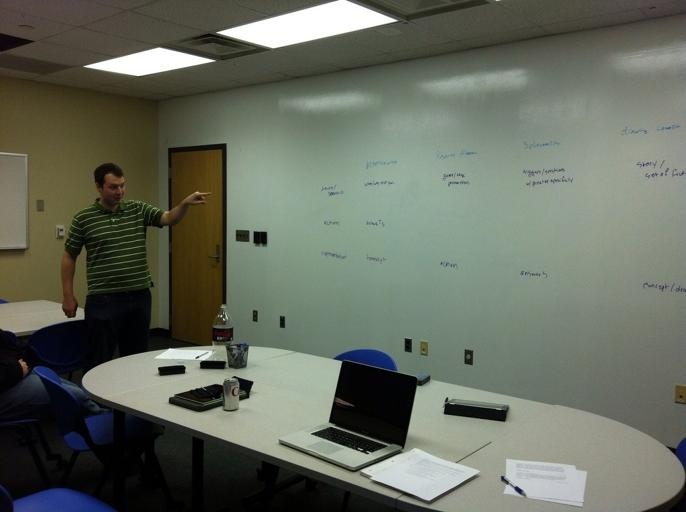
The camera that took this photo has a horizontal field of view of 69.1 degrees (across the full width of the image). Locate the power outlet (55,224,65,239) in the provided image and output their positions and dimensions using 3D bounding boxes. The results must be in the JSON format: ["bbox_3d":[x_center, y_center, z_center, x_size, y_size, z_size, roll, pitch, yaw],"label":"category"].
[{"bbox_3d":[-3.394,-0.305,6.008,0.096,0.202,0.138,10,12,43],"label":"power outlet"}]

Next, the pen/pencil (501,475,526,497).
[{"bbox_3d":[0.674,0.920,1.990,0.026,0.028,0.101,-13,16,-20],"label":"pen/pencil"}]

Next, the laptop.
[{"bbox_3d":[0.071,0.649,2.311,0.441,0.302,0.422,5,4,42],"label":"laptop"}]

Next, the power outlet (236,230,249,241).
[{"bbox_3d":[-1.203,-0.247,6.049,0.209,0.154,0.115,5,7,37],"label":"power outlet"}]

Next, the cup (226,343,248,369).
[{"bbox_3d":[-0.662,0.616,3.196,0.142,0.180,0.143,0,5,0],"label":"cup"}]

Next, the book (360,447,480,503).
[{"bbox_3d":[0.313,0.904,2.039,0.205,0.023,0.205,-11,11,-38],"label":"book"}]
